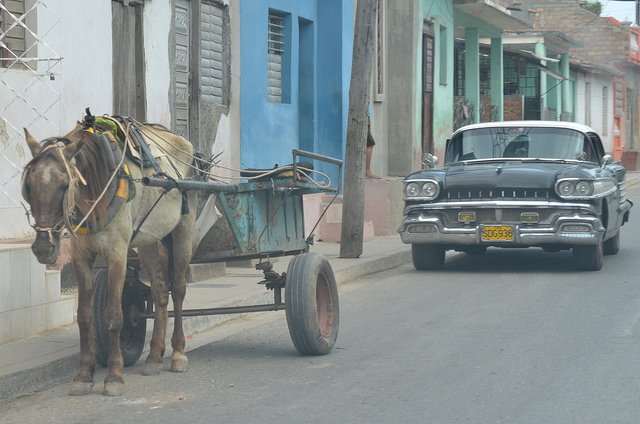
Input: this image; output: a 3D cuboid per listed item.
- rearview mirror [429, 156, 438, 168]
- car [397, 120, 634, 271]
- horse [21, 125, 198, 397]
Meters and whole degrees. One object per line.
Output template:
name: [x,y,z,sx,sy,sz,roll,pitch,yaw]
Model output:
rearview mirror: [1.893,-0.853,17.380,0.138,0.149,0.175,-3,-7,29]
car: [3.272,-0.195,17.392,3.196,2.496,3.142,3,13,21]
horse: [-2.250,0.444,11.696,1.059,2.915,2.282,5,14,27]
